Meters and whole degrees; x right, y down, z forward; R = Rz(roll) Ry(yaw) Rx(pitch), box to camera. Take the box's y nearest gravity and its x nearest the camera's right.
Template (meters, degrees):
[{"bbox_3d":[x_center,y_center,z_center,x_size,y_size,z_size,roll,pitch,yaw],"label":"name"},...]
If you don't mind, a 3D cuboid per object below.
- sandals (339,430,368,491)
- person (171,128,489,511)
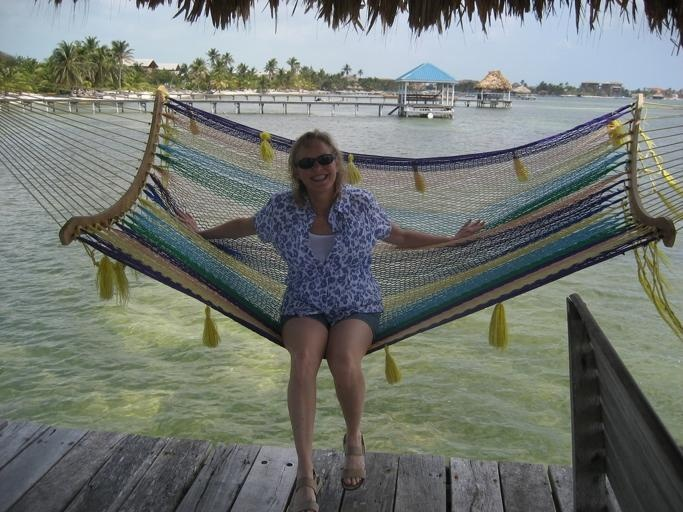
[{"bbox_3d":[0.042,0.752,2.306,0.085,0.229,0.071,-1,-31,6],"label":"sandals"},{"bbox_3d":[-0.034,0.178,2.376,0.560,1.257,0.751,-1,14,-8],"label":"person"}]
